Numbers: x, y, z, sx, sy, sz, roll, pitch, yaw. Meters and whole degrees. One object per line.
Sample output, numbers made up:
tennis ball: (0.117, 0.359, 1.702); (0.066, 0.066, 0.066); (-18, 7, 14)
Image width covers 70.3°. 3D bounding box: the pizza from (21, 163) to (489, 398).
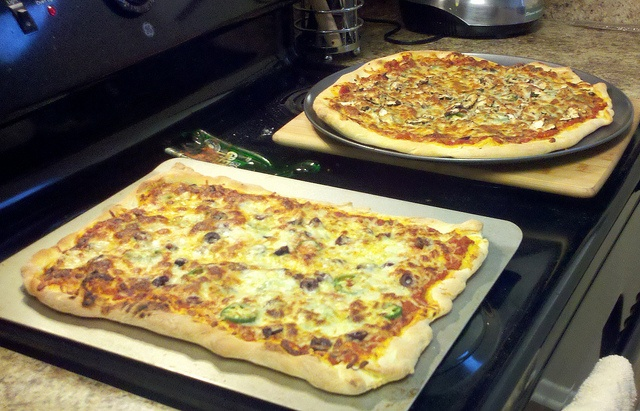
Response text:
pizza: (-0.148, 0.149, 0.978); (0.675, 0.071, 0.466); (14, 33, 22)
